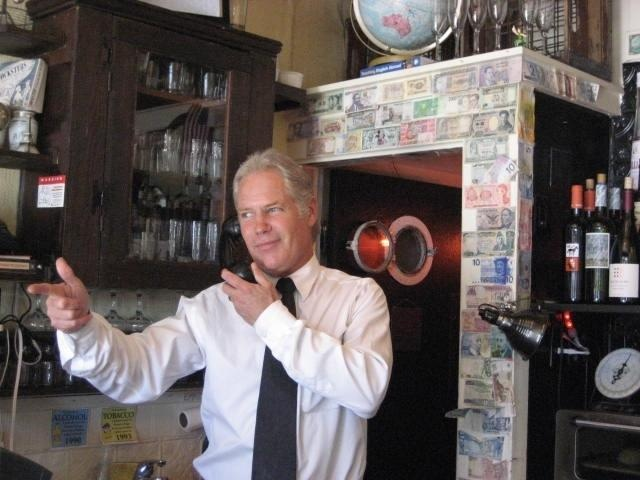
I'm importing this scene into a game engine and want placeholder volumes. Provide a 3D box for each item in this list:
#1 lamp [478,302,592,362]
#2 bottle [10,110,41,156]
[{"bbox_3d":[0.867,0.363,2.295,0.458,0.220,0.168,4,0,-5],"label":"lamp"},{"bbox_3d":[-1.083,-0.391,2.080,0.097,0.165,0.114,1,-3,-37],"label":"bottle"}]
